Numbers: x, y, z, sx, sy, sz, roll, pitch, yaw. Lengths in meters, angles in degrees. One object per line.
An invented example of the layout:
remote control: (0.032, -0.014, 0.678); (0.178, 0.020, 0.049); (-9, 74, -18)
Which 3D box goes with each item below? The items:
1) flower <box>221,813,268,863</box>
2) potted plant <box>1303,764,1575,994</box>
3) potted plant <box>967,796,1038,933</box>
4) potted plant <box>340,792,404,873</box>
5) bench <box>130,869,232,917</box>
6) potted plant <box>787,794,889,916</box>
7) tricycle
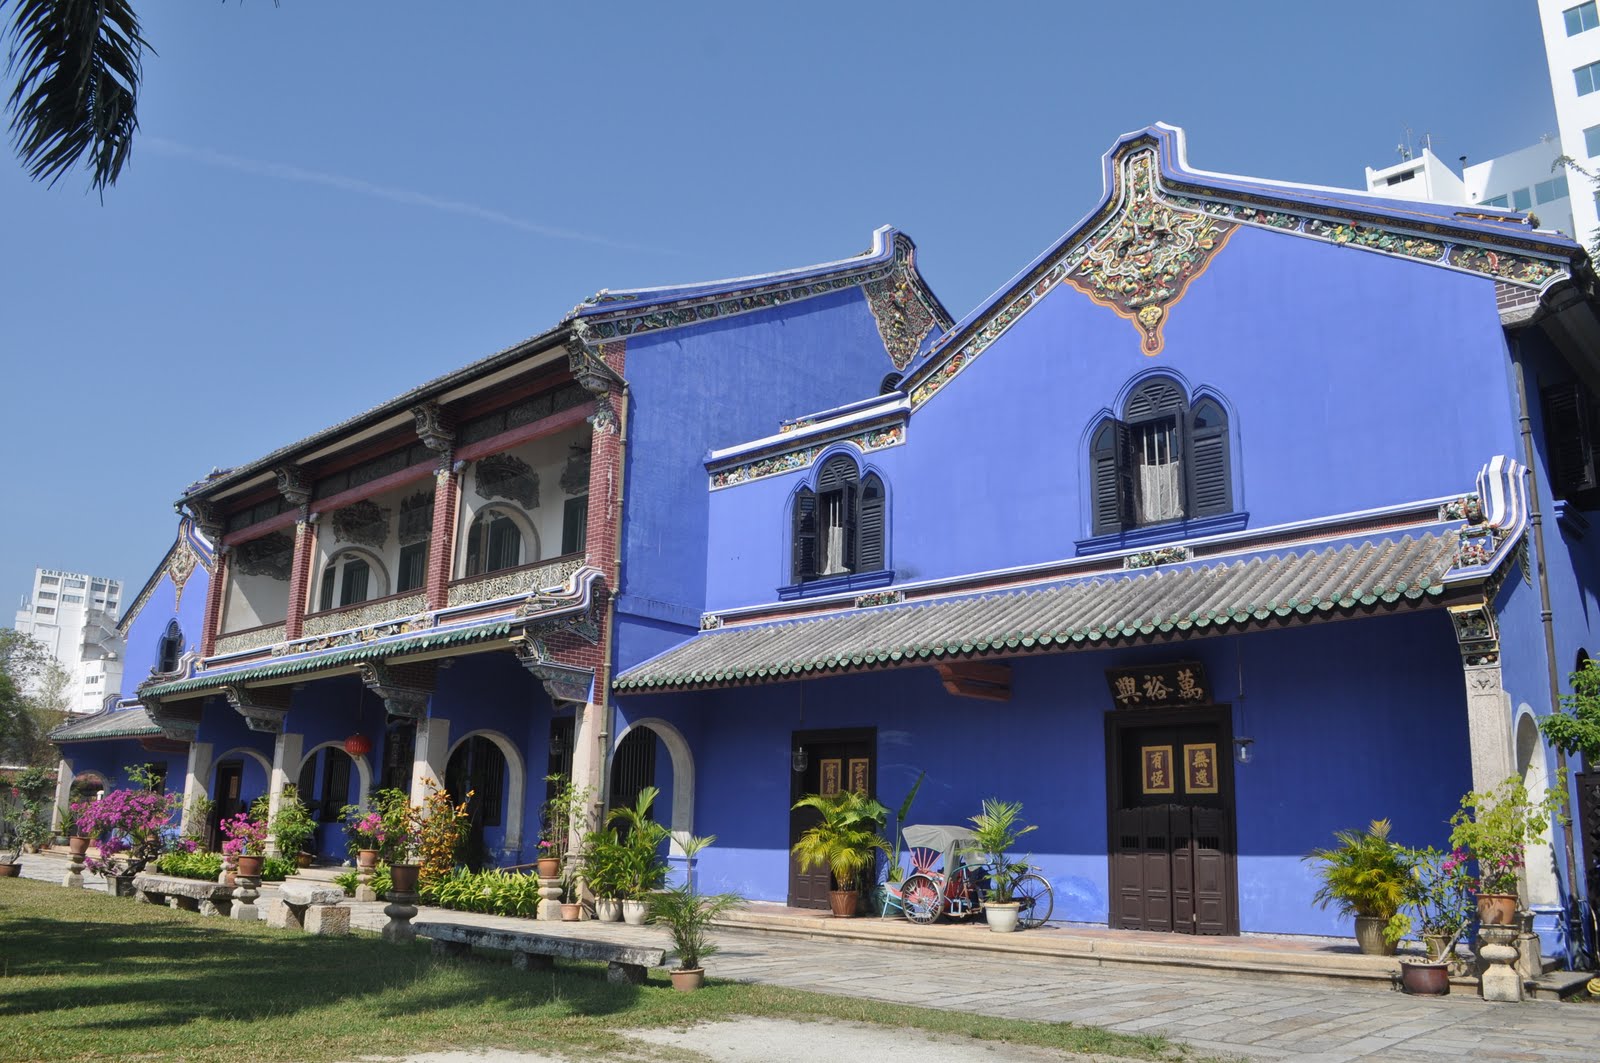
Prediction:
flower: (-10.136, 5.623, 24.714); (0.576, 0.909, 1.720); (10, -20, -24)
potted plant: (7.525, 4.131, 15.706); (1.335, 2.335, 2.435); (17, -23, -39)
potted plant: (2.820, 4.613, 18.782); (0.855, 1.830, 1.172); (-1, -18, 7)
potted plant: (-7.179, 5.085, 22.983); (0.877, 1.221, 3.362); (8, -19, -18)
bench: (-9.479, 5.573, 20.750); (2.350, 0.587, 0.711); (-14, -23, 39)
potted plant: (0.648, 4.805, 20.246); (1.741, 1.693, 1.716); (1, -32, 0)
tricycle: (2.267, 4.881, 19.098); (2.846, 1.366, 0.916); (-11, -17, 39)
